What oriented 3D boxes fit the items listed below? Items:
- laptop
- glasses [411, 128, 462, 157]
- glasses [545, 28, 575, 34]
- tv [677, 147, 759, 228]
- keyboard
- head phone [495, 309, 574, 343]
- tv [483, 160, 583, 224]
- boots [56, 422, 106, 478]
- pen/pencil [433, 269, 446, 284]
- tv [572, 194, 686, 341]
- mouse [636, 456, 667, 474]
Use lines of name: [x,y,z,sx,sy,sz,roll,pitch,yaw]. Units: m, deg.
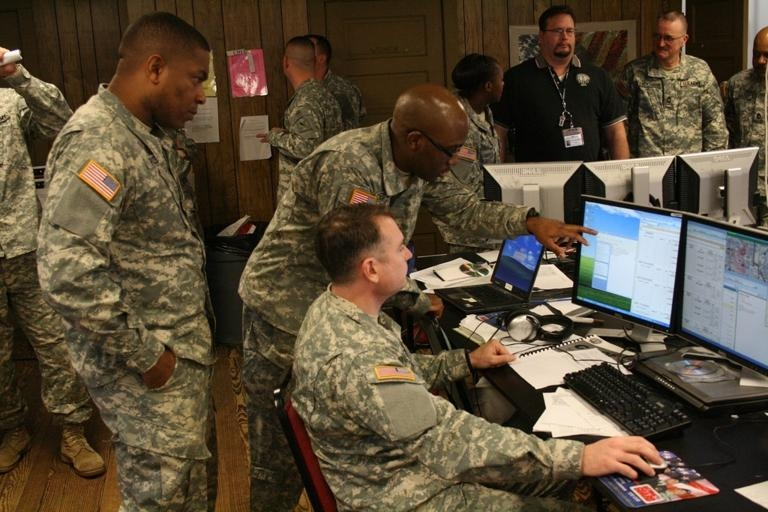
laptop: [0.555,0.074,3.407,0.549,0.311,0.554,-9,11,-28]
glasses: [0.215,-0.466,2.691,0.148,0.039,0.135,27,13,-2]
glasses: [1.331,-1.698,4.802,0.204,0.041,0.058,-1,12,4]
tv: [2.065,-0.387,3.862,0.591,0.472,0.182,-7,15,-13]
keyboard: [0.941,0.566,2.520,0.256,0.085,0.513,-10,17,-16]
head phone: [0.729,0.333,3.007,0.248,0.081,0.176,0,5,7]
tv: [0.872,-0.361,3.638,0.464,0.333,0.134,1,13,7]
boots: [-1.836,1.152,3.893,0.473,0.262,0.175,14,15,43]
pen/pencil: [0.319,0.123,3.747,0.021,0.020,0.132,-3,29,-26]
tv: [1.113,0.041,2.890,0.036,0.527,0.587,-6,14,-28]
mouse: [0.927,0.716,2.181,0.069,0.063,0.018,-20,0,5]
